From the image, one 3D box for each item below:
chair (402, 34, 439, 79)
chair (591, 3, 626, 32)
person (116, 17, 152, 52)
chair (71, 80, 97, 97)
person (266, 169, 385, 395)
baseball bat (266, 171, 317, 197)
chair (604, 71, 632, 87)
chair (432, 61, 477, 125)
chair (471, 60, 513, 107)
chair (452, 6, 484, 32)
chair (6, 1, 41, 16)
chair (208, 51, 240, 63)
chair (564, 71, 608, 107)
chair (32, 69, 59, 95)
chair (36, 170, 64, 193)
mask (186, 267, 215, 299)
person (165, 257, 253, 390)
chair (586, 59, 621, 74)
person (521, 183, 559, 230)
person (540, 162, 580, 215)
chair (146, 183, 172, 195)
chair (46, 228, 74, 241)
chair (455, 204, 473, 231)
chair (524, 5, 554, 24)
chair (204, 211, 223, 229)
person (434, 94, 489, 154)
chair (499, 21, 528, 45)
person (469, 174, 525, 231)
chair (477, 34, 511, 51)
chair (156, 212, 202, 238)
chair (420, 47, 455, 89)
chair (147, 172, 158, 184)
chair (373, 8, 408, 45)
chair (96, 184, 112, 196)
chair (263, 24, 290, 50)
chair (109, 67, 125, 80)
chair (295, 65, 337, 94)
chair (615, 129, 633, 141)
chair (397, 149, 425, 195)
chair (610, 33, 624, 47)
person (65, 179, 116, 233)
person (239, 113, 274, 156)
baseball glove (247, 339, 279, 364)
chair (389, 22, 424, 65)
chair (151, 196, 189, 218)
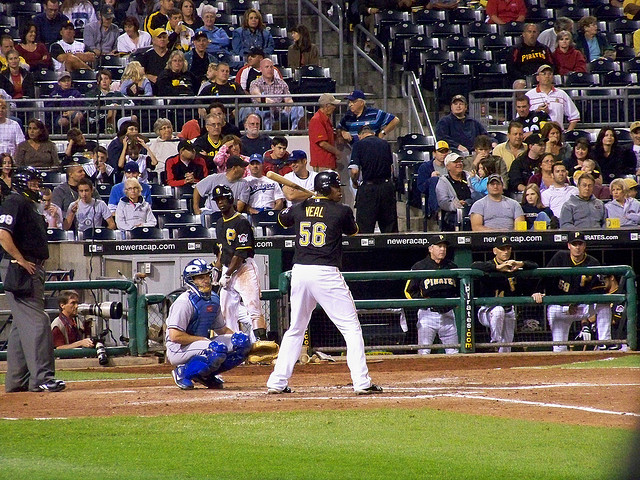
[{"bbox_3d":[1.962,-3.735,29.443,0.799,1.108,0.810,-1,7,-8],"label":"chair"},{"bbox_3d":[6.430,-5.074,32.715,0.699,0.850,0.624,0,1,-9],"label":"chair"},{"bbox_3d":[-3.601,-3.939,28.350,0.688,0.788,0.487,-10,-11,9],"label":"person"},{"bbox_3d":[-4.497,-2.911,27.676,0.327,0.455,0.363,1,15,-2],"label":"chair"},{"bbox_3d":[0.022,0.525,18.963,1.298,2.896,0.528,-1,-2,-1],"label":"person"},{"bbox_3d":[-0.446,-0.887,22.718,0.935,0.145,0.140,29,-31,13],"label":"baseball bat"},{"bbox_3d":[5.973,-3.249,29.134,0.492,0.525,0.463,0,-2,2],"label":"chair"},{"bbox_3d":[2.873,-2.986,28.856,0.904,1.406,0.862,-2,17,27],"label":"chair"},{"bbox_3d":[3.409,-3.036,28.492,0.695,1.016,0.669,-6,0,-10],"label":"chair"},{"bbox_3d":[3.175,-4.870,31.570,0.649,0.927,0.618,0,5,-4],"label":"chair"},{"bbox_3d":[-6.068,-4.786,29.826,0.466,0.332,0.351,0,-2,-13],"label":"chair"},{"bbox_3d":[-1.827,-3.595,28.435,0.395,0.155,0.306,-1,8,-28],"label":"chair"},{"bbox_3d":[5.251,-2.949,28.589,0.724,0.872,0.979,10,4,-10],"label":"chair"},{"bbox_3d":[-5.192,-3.041,27.621,0.522,0.707,0.496,0,2,-16],"label":"chair"},{"bbox_3d":[-4.612,-1.063,25.072,0.369,0.529,0.431,1,-5,-17],"label":"chair"},{"bbox_3d":[-1.586,0.547,19.666,0.297,0.393,0.368,-2,1,-29],"label":"mask"},{"bbox_3d":[-1.498,1.147,19.635,1.013,1.745,0.982,0,0,-5],"label":"person"},{"bbox_3d":[5.737,-3.517,29.474,0.510,0.208,0.388,2,-1,-20],"label":"chair"},{"bbox_3d":[3.629,-0.584,23.905,0.588,0.757,0.850,-1,-2,5],"label":"person"},{"bbox_3d":[3.994,-0.982,24.298,0.578,0.914,0.425,-3,33,-7],"label":"person"},{"bbox_3d":[-2.738,-0.906,25.129,0.377,0.196,0.143,-1,-2,-6],"label":"chair"},{"bbox_3d":[-4.250,-0.120,23.779,0.481,0.202,0.372,2,-5,-3],"label":"chair"},{"bbox_3d":[2.367,-0.400,24.109,0.301,0.430,0.211,-1,-2,20],"label":"chair"},{"bbox_3d":[4.773,-4.912,31.653,0.505,0.662,0.467,2,7,12],"label":"chair"},{"bbox_3d":[-1.781,-0.367,24.076,0.270,0.401,0.329,0,3,-9],"label":"chair"},{"bbox_3d":[2.559,-2.061,25.977,1.057,1.063,0.676,-5,0,-25],"label":"person"},{"bbox_3d":[4.061,-4.369,30.758,0.474,0.678,0.550,0,16,2],"label":"chair"},{"bbox_3d":[2.836,-0.706,23.933,0.937,1.353,0.827,-2,0,-2],"label":"person"},{"bbox_3d":[3.627,-4.109,30.229,0.524,0.352,0.263,-1,-8,-9],"label":"chair"},{"bbox_3d":[-2.375,-0.350,24.260,0.518,0.546,0.479,0,-8,-8],"label":"chair"},{"bbox_3d":[2.261,-3.465,29.112,0.662,0.994,0.738,0,2,-1],"label":"chair"},{"bbox_3d":[-2.963,-1.129,25.845,0.186,0.258,0.195,0,5,19],"label":"chair"},{"bbox_3d":[1.435,-4.527,30.413,0.609,0.909,0.794,1,1,0],"label":"chair"},{"bbox_3d":[-3.712,-0.894,25.048,0.182,0.248,0.210,1,-12,-14],"label":"chair"},{"bbox_3d":[-0.850,-4.158,29.648,0.458,0.702,1.067,-1,-2,-3],"label":"chair"},{"bbox_3d":[-3.908,-3.246,28.067,0.385,0.241,0.369,-5,-1,-18],"label":"chair"},{"bbox_3d":[-0.073,-3.113,28.220,0.680,0.826,0.575,0,-4,-10],"label":"chair"},{"bbox_3d":[5.697,-1.992,27.220,0.274,0.257,0.378,-1,-2,12],"label":"chair"},{"bbox_3d":[1.698,-1.213,26.167,0.755,0.931,0.830,0,-2,8],"label":"chair"},{"bbox_3d":[6.426,-4.347,31.394,0.346,0.359,0.632,-1,6,10],"label":"chair"},{"bbox_3d":[-3.831,-0.485,24.084,0.771,1.156,0.593,-5,11,-3],"label":"person"},{"bbox_3d":[-1.142,-1.875,25.722,0.874,0.786,0.447,-1,-7,-15],"label":"person"},{"bbox_3d":[-0.824,1.563,20.872,0.342,0.367,0.276,-25,22,-28],"label":"baseball glove"},{"bbox_3d":[1.749,-4.107,30.000,0.611,0.946,0.854,1,12,0],"label":"chair"},{"bbox_3d":[-2.566,-0.611,24.733,0.451,0.357,0.404,0,-5,-11],"label":"chair"}]
